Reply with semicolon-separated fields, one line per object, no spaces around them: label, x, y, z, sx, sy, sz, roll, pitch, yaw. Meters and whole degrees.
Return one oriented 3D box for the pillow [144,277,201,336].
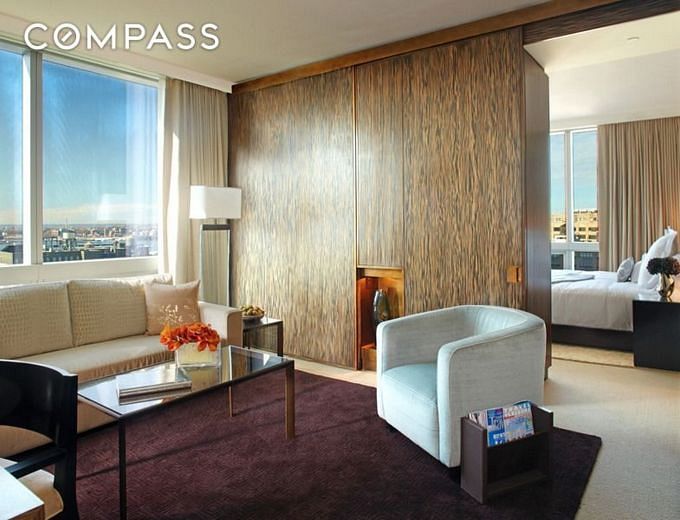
pillow;-1.395;0.399;4.043;0.399;0.418;0.148;-2;-16;-24

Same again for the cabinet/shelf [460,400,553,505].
cabinet/shelf;0.939;1.124;2.803;0.483;0.436;0.191;-4;2;-29

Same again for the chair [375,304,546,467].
chair;0.794;0.575;3.332;0.927;0.982;1.054;-1;1;-24

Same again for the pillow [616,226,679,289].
pillow;3.884;-0.045;6.130;0.184;0.653;0.581;20;-29;15

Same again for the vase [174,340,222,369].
vase;-0.932;0.609;3.201;0.261;0.194;0.155;2;-4;-25

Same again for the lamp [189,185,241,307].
lamp;-1.219;-0.070;5.003;0.373;1.289;0.243;4;-12;6

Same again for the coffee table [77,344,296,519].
coffee table;-0.933;0.979;3.124;0.722;0.571;1.225;7;12;43

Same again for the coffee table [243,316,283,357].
coffee table;-0.752;0.645;4.655;0.402;0.417;0.383;-4;5;-43
